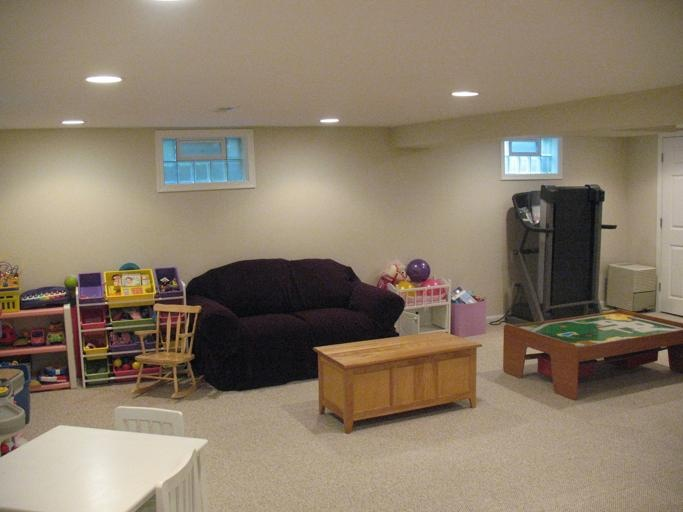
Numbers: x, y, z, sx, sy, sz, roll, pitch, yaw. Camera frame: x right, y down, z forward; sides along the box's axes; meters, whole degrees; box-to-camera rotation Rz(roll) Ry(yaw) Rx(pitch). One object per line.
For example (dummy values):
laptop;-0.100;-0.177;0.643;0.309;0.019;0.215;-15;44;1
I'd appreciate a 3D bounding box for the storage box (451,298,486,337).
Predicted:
storage box;1.589;0.765;6.549;0.415;0.425;0.418;0;0;-25

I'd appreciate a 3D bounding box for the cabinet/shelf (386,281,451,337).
cabinet/shelf;0.940;0.533;6.597;0.764;0.745;0.630;-4;3;-29

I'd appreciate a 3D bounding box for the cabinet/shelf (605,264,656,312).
cabinet/shelf;4.108;0.453;7.575;0.478;0.637;0.522;-4;11;-16

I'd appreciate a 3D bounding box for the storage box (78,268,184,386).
storage box;-2.130;0.754;5.315;1.064;1.077;0.350;-2;2;-23
